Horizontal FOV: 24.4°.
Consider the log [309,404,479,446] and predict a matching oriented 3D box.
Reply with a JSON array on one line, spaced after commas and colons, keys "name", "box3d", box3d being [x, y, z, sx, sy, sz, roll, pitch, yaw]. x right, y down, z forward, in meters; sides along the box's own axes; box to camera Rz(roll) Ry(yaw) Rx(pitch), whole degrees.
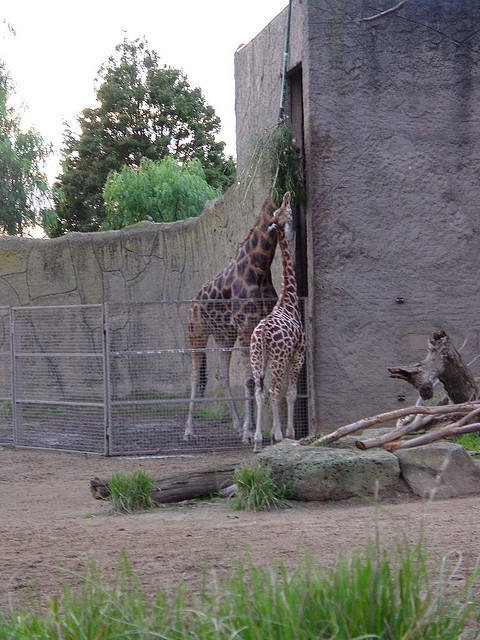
[{"name": "log", "box3d": [1.073, 0.707, 7.497, 1.202, 0.120, 0.189, -9, -23, -20]}]

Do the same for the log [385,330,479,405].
[{"name": "log", "box3d": [1.277, 0.307, 7.164, 0.247, 0.472, 1.202, -4, -5, 27]}]

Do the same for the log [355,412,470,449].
[{"name": "log", "box3d": [1.112, 0.704, 7.018, 0.674, 0.071, 0.094, -15, -17, -26]}]

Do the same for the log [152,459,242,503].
[{"name": "log", "box3d": [-0.269, 0.976, 6.579, 0.497, 0.199, 0.267, -2, -5, -3]}]

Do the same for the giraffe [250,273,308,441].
[{"name": "giraffe", "box3d": [0.298, 0.314, 8.892, 0.465, 1.285, 0.772, -2, -5, 0]}]

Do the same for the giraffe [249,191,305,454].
[{"name": "giraffe", "box3d": [0.275, 0.001, 8.800, 0.380, 2.077, 0.627, -4, -5, 28]}]
